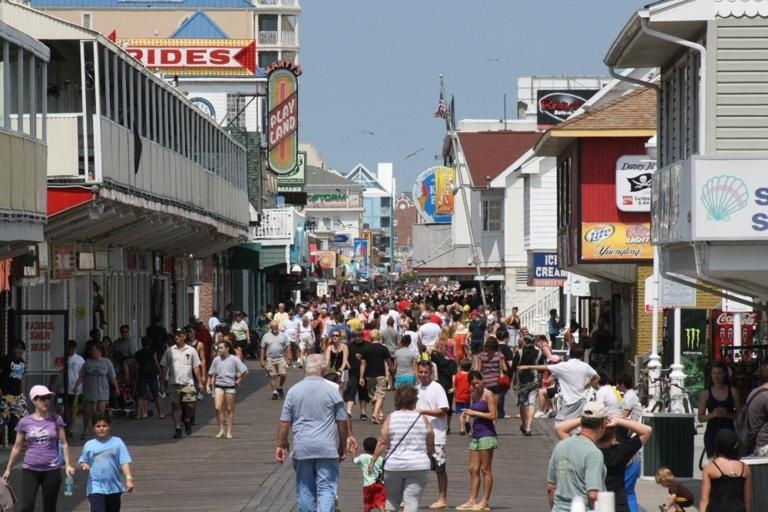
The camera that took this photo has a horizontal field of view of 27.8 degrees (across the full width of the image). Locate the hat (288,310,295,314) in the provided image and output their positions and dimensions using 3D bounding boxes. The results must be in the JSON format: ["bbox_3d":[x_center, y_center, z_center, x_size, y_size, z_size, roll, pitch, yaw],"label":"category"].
[{"bbox_3d":[-2.819,1.632,47.631,0.180,0.179,0.325,2,-11,-3],"label":"hat"}]

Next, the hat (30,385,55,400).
[{"bbox_3d":[-6.111,2.364,27.488,0.360,0.283,0.533,0,-5,-45],"label":"hat"}]

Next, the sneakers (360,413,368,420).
[{"bbox_3d":[-0.463,3.805,37.269,0.101,0.132,0.316,-1,-6,-2],"label":"sneakers"}]

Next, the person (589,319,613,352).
[{"bbox_3d":[5.988,2.128,42.504,0.609,0.925,2.347,-1,-3,9],"label":"person"}]

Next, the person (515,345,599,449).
[{"bbox_3d":[3.712,2.891,32.247,1.504,2.190,0.829,0,14,-5],"label":"person"}]

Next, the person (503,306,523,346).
[{"bbox_3d":[4.021,2.173,47.479,0.469,1.430,0.402,-9,16,-25],"label":"person"}]

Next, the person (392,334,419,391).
[{"bbox_3d":[0.535,2.712,36.986,0.594,1.816,0.534,3,22,6],"label":"person"}]

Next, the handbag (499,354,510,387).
[{"bbox_3d":[2.802,2.597,35.953,0.245,0.984,0.720,-3,-1,5],"label":"handbag"}]

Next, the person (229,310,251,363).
[{"bbox_3d":[-4.404,2.486,47.262,0.597,1.776,0.565,7,21,12],"label":"person"}]

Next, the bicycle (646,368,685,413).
[{"bbox_3d":[6.402,2.975,35.051,0.856,0.969,2.180,-1,-3,7],"label":"bicycle"}]

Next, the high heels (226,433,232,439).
[{"bbox_3d":[-3.455,3.997,34.897,0.064,0.113,0.152,1,9,0],"label":"high heels"}]

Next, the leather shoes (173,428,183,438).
[{"bbox_3d":[-4.643,3.941,35.043,0.194,0.221,0.377,0,-3,-10],"label":"leather shoes"}]

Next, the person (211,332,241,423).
[{"bbox_3d":[-3.582,2.931,35.248,0.759,2.194,0.882,0,-3,-7],"label":"person"}]

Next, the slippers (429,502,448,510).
[{"bbox_3d":[1.038,4.629,29.095,0.310,0.229,0.145,3,-3,8],"label":"slippers"}]

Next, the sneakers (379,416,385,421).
[{"bbox_3d":[-0.014,3.793,36.634,0.155,0.193,0.475,0,-5,0],"label":"sneakers"}]
